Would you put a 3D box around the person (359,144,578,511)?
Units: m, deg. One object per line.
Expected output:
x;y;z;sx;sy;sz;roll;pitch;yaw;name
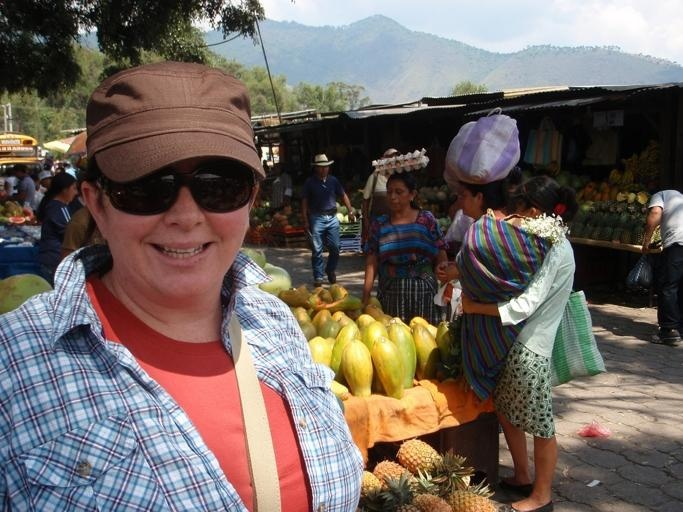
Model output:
1.060;0.423;3.396;0.799;2.212;0.820;-2;3;-36;person

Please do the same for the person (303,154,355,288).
-0.235;-0.637;9.417;0.926;2.375;0.763;-2;6;-9;person

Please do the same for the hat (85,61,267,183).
-0.415;-0.333;1.298;0.379;0.265;0.476;-9;14;-42;hat

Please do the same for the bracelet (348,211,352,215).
0.189;-0.947;11.262;0.067;0.082;0.072;-2;-4;-5;bracelet
